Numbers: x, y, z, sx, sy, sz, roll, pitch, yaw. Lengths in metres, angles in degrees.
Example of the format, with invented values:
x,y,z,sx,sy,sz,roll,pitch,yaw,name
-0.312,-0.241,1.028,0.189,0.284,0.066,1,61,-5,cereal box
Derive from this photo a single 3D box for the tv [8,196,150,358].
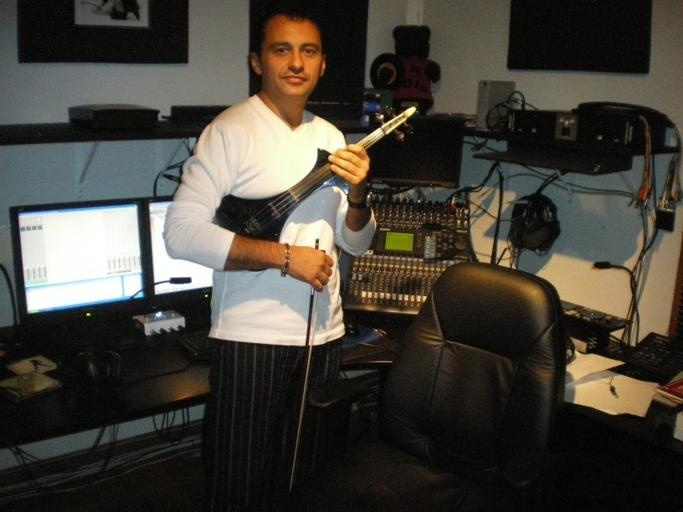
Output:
x,y,z,sx,sy,sz,roll,pitch,yaw,name
-1.172,0.100,2.534,0.624,0.732,0.068,-5,9,-29,tv

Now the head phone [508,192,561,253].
x,y,z,sx,sy,sz,roll,pitch,yaw,name
0.983,-0.155,2.980,0.282,0.315,0.219,-5,-14,28,head phone

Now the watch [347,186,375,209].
x,y,z,sx,sy,sz,roll,pitch,yaw,name
0.078,-0.223,2.161,0.078,0.088,0.043,-2,36,6,watch
